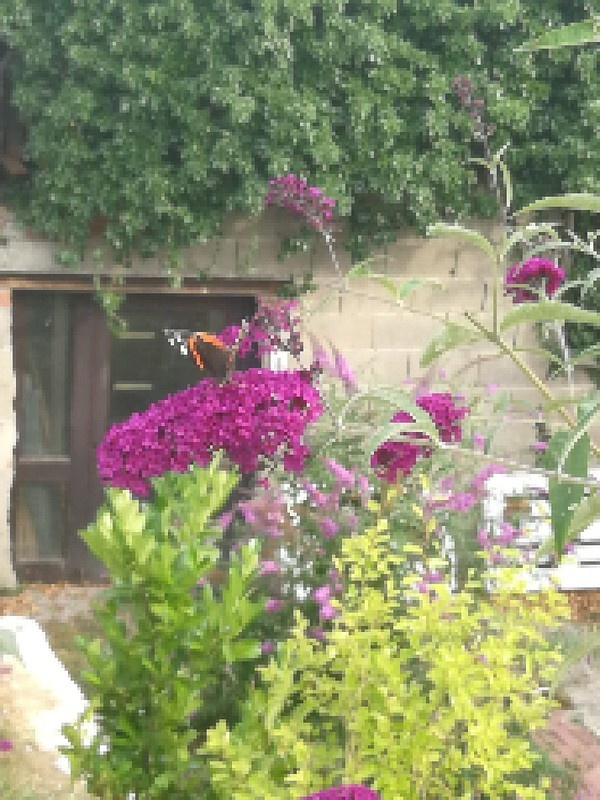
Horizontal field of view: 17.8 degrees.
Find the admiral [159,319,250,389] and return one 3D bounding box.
[{"bbox_3d":[-0.470,-0.247,9.344,0.365,0.292,0.054,2,7,-7],"label":"admiral"}]
